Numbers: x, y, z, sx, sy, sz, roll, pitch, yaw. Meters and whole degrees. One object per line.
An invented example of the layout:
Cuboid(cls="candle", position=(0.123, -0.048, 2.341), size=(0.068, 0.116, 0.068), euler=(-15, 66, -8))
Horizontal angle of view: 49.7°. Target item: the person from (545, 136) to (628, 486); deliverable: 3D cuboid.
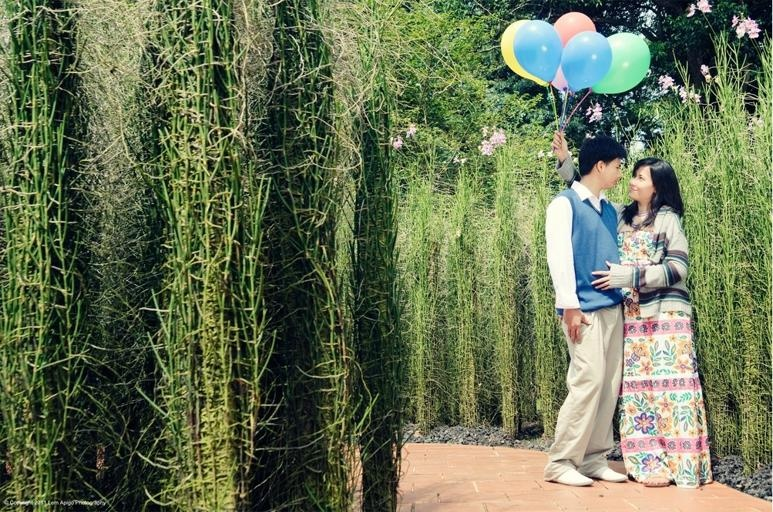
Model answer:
Cuboid(cls="person", position=(1.589, 0.408, 6.727), size=(0.817, 1.920, 0.388), euler=(-1, -1, -28))

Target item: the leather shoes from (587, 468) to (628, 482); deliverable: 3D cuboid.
Cuboid(cls="leather shoes", position=(1.750, 1.766, 6.644), size=(0.292, 0.135, 0.133), euler=(-4, -2, 21))

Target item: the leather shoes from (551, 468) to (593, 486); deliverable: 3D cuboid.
Cuboid(cls="leather shoes", position=(1.424, 1.711, 6.491), size=(0.223, 0.103, 0.139), euler=(-5, -5, 21))
